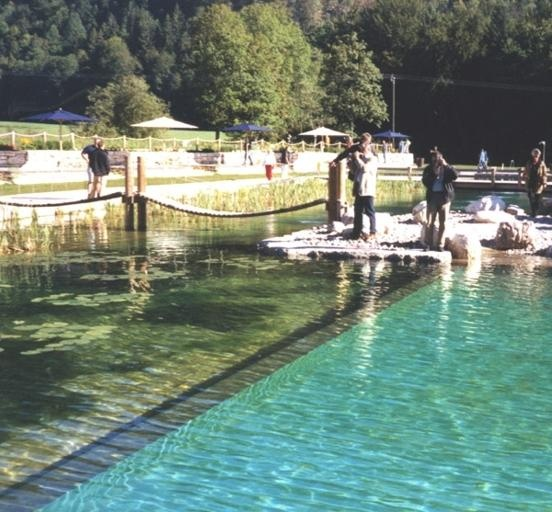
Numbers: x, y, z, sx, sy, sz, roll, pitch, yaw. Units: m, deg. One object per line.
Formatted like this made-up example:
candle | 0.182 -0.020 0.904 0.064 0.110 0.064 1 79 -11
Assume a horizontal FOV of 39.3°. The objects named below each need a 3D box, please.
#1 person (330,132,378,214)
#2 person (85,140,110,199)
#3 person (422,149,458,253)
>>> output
person | 1.468 -1.527 14.415 0.771 1.538 1.479 -1 11 5
person | -4.653 -2.331 20.418 0.568 1.586 1.119 -5 11 -13
person | 2.860 -0.958 13.685 0.585 1.845 1.313 1 11 12
